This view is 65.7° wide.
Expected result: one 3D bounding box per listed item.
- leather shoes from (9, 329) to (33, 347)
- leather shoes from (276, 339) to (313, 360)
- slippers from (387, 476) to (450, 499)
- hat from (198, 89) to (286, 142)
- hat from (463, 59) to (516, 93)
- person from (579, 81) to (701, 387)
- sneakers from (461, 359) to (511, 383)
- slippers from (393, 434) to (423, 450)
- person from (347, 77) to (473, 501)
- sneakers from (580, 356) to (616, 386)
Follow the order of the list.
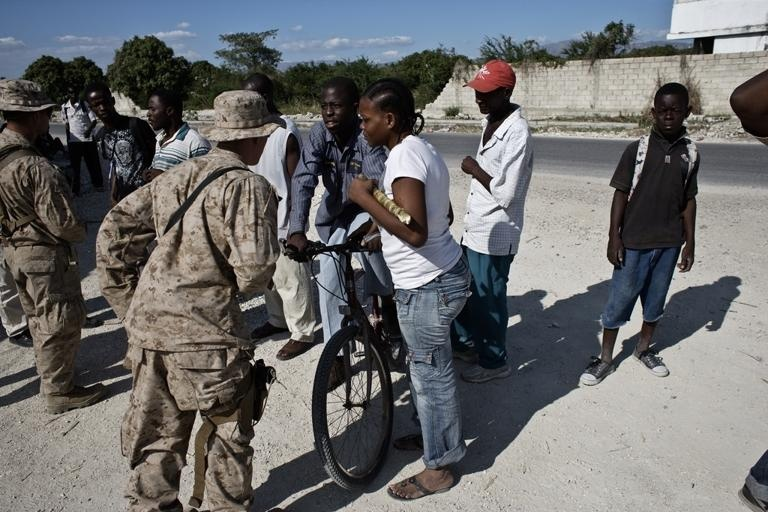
[{"bbox_3d":[-4.021,0.911,6.588,0.181,0.215,0.522,5,-7,-39],"label":"leather shoes"},{"bbox_3d":[-0.933,0.985,6.263,0.392,0.167,0.141,0,3,-41],"label":"leather shoes"},{"bbox_3d":[0.294,1.823,4.712,0.441,0.124,0.192,-1,8,-9],"label":"slippers"},{"bbox_3d":[-1.027,-1.007,4.312,0.441,0.227,0.452,15,28,34],"label":"hat"},{"bbox_3d":[0.969,-1.626,5.470,0.402,0.229,0.277,3,25,-8],"label":"hat"},{"bbox_3d":[2.438,-0.198,5.512,0.737,2.621,1.073,11,27,32],"label":"person"},{"bbox_3d":[1.005,1.122,5.830,0.470,0.222,0.191,-3,14,-4],"label":"sneakers"},{"bbox_3d":[0.223,1.612,5.105,0.305,0.125,0.106,9,52,5],"label":"slippers"},{"bbox_3d":[0.247,0.284,4.630,0.874,3.111,1.088,-6,22,-5],"label":"person"},{"bbox_3d":[2.031,1.110,5.739,0.431,0.187,0.157,-17,16,-31],"label":"sneakers"}]
